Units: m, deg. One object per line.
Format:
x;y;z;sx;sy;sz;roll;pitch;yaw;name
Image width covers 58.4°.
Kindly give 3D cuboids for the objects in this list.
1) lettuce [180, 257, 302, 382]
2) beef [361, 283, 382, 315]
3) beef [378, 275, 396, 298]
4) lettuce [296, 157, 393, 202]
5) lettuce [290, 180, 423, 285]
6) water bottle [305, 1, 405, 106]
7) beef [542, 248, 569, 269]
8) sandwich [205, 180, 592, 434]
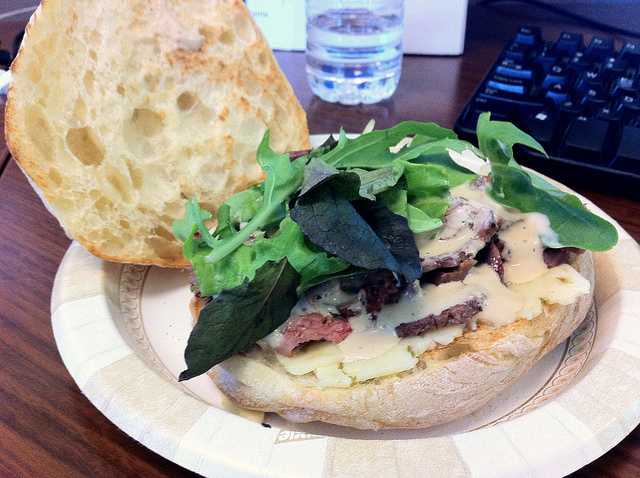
-0.153;0.121;1.023;0.309;0.122;0.041;-39;22;-12;lettuce
0.099;0.114;1.078;0.044;0.046;0.014;1;-3;11;beef
0.122;0.086;1.061;0.039;0.012;0.025;-52;44;7;beef
0.029;-0.123;1.044;0.191;0.079;0.136;-3;15;-18;lettuce
0.104;-0.026;1.104;0.333;0.160;0.215;9;21;26;lettuce
0.113;-0.644;2.004;0.206;0.346;0.328;-22;32;-32;water bottle
0.470;0.035;1.133;0.051;0.040;0.013;-15;13;-24;beef
0.202;0.165;1.088;0.641;0.161;0.506;-22;29;-22;sandwich
